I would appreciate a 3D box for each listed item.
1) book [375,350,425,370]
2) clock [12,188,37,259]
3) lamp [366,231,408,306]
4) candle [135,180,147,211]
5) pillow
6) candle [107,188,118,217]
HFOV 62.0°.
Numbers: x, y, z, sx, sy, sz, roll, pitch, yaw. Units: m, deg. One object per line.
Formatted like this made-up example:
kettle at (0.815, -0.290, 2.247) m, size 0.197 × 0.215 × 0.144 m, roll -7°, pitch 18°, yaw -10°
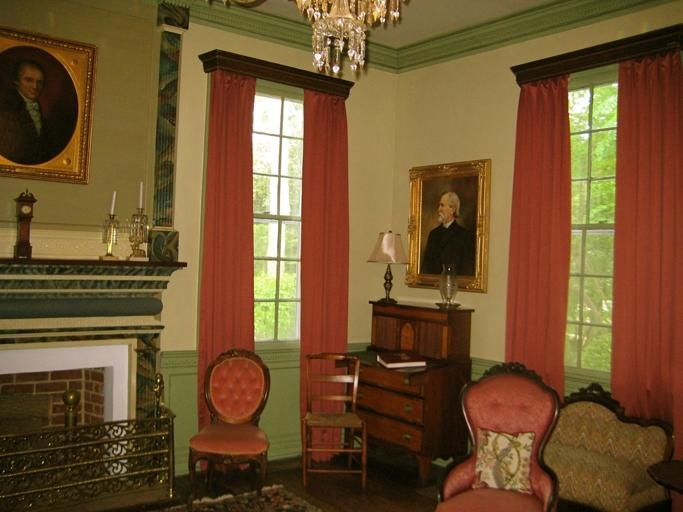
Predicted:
book at (0.592, 1.010, 5.513) m, size 0.482 × 0.119 × 0.351 m, roll -1°, pitch -3°, yaw 6°
clock at (-2.563, -0.253, 4.601) m, size 0.145 × 0.554 × 0.268 m, roll 1°, pitch -3°, yaw -30°
lamp at (0.476, 0.113, 6.146) m, size 0.609 × 0.965 × 0.635 m, roll 1°, pitch -4°, yaw -1°
candle at (-1.768, -0.541, 5.037) m, size 0.064 × 0.293 × 0.343 m, roll 1°, pitch -3°, yaw -19°
pillow at (1.196, 1.473, 4.146) m, size 0.402 × 0.417 × 0.126 m, roll 2°, pitch -9°, yaw 15°
candle at (-1.972, -0.462, 4.926) m, size 0.060 × 0.245 × 0.337 m, roll 1°, pitch -3°, yaw -22°
